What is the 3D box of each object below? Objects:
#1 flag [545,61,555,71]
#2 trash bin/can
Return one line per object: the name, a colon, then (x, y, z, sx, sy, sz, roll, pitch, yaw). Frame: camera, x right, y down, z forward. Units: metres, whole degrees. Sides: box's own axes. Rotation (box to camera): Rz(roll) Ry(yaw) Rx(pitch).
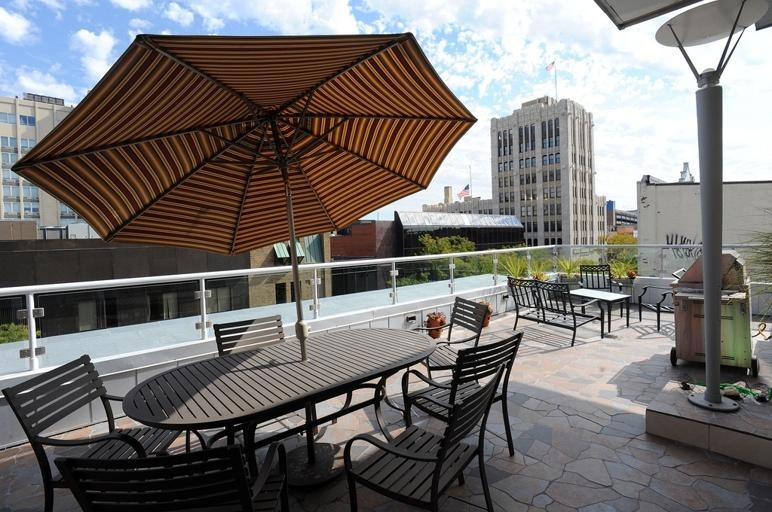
flag: (22.825, -26.157, 66.339, 0.643, 1.249, 1.202, -11, 17, -33)
trash bin/can: (4.877, 0.876, 7.463, 1.554, 2.064, 1.683, -2, 1, 30)
